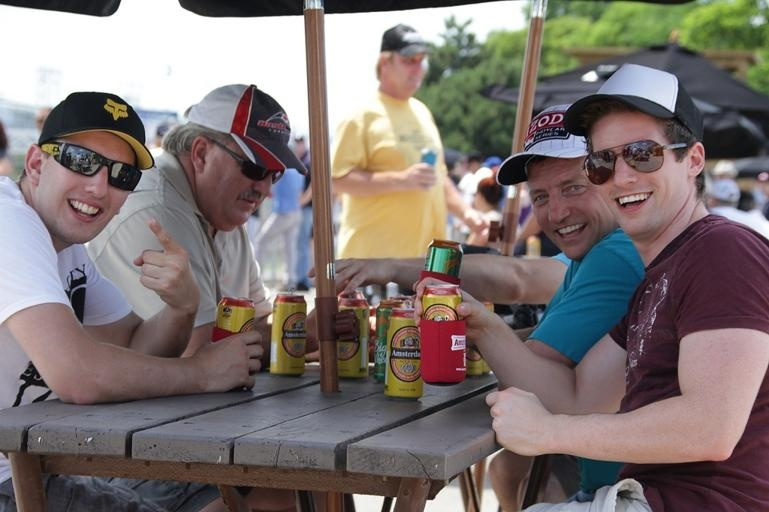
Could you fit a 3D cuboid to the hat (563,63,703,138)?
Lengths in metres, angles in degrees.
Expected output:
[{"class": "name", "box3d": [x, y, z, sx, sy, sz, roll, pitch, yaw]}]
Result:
[{"class": "hat", "box3d": [0.836, -0.508, 2.522, 0.342, 0.222, 0.443, 11, -5, 39]}]

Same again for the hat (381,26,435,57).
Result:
[{"class": "hat", "box3d": [0.137, -1.449, 5.180, 0.221, 0.169, 0.300, -12, 15, -42]}]

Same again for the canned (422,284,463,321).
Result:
[{"class": "canned", "box3d": [0.193, 0.154, 2.557, 0.117, 0.197, 0.114, -1, 2, 10]}]

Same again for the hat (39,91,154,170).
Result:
[{"class": "hat", "box3d": [-1.121, -0.501, 2.787, 0.414, 0.218, 0.319, -8, 2, -30]}]

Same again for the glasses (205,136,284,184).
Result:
[{"class": "glasses", "box3d": [-0.649, -0.408, 3.454, 0.247, 0.068, 0.184, 37, 5, 7]}]

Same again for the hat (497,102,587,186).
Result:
[{"class": "hat", "box3d": [0.626, -0.442, 3.061, 0.246, 0.322, 0.524, -3, 9, -16]}]
